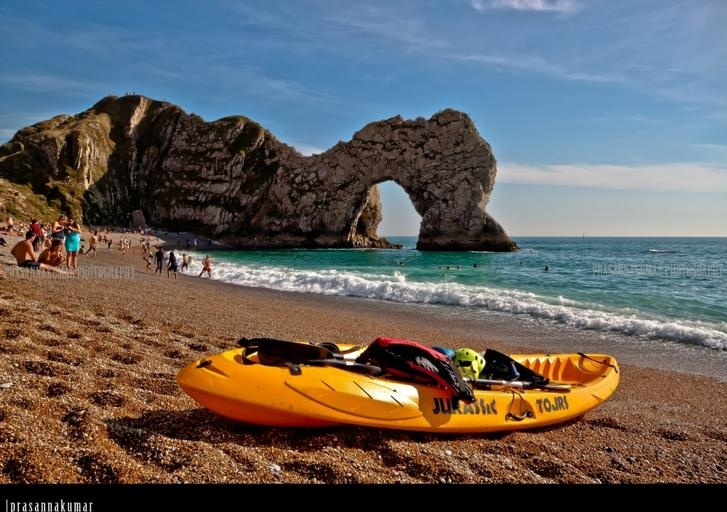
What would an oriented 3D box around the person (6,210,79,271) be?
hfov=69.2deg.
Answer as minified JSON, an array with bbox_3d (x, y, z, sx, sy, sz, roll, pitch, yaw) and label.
[{"bbox_3d":[-9.246,-0.217,15.101,1.298,1.120,2.218,11,4,0],"label":"person"}]

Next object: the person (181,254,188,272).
[{"bbox_3d":[-10.769,0.410,31.815,0.578,1.111,0.394,-9,53,-14],"label":"person"}]
